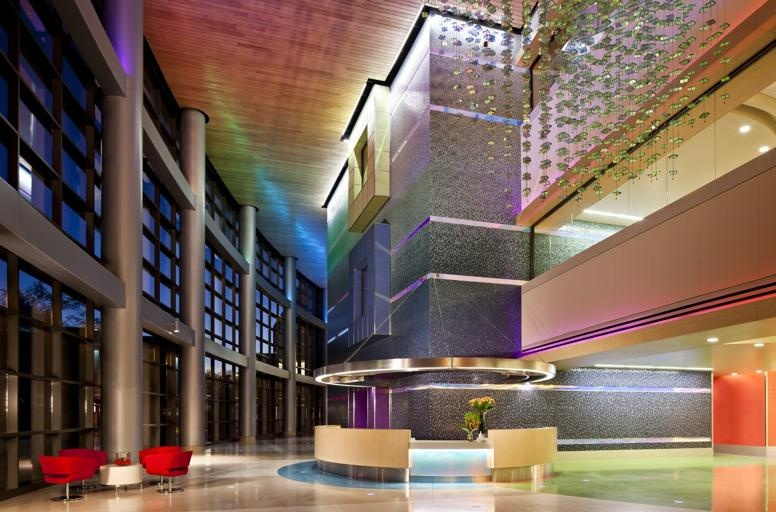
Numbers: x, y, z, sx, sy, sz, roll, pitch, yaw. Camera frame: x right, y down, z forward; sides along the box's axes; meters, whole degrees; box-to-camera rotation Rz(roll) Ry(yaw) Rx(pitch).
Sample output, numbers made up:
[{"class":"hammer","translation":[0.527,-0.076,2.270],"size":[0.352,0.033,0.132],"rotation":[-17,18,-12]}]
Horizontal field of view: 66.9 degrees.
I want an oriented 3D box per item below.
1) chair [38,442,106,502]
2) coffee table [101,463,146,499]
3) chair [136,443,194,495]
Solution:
[{"class":"chair","translation":[-7.796,5.371,14.495],"size":[1.327,1.198,2.004],"rotation":[6,-21,-22]},{"class":"coffee table","translation":[-6.749,5.656,14.854],"size":[0.836,0.498,0.834],"rotation":[0,-10,-4]},{"class":"chair","translation":[-5.862,5.424,15.352],"size":[1.257,1.316,1.432],"rotation":[-3,-12,21]}]
